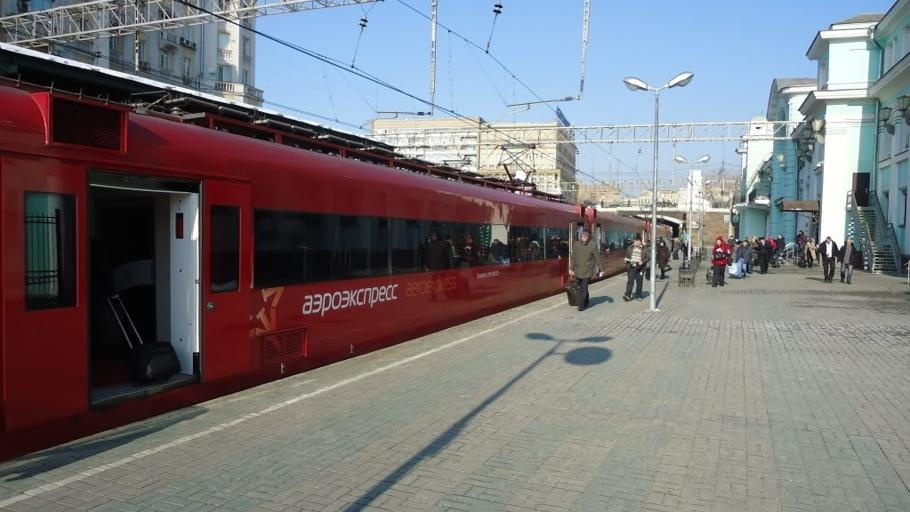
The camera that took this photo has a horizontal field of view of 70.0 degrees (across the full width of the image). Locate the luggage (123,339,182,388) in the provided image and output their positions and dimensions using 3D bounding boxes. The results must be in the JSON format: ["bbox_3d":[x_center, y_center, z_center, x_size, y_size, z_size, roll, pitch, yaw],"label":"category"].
[{"bbox_3d":[-4.814,1.712,10.342,0.837,0.576,0.281,-1,-1,15],"label":"luggage"}]

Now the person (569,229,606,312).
[{"bbox_3d":[3.967,0.457,19.444,1.053,2.295,1.171,0,0,13],"label":"person"}]

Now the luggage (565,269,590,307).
[{"bbox_3d":[3.818,1.002,19.932,0.961,1.429,0.992,-1,5,13],"label":"luggage"}]
